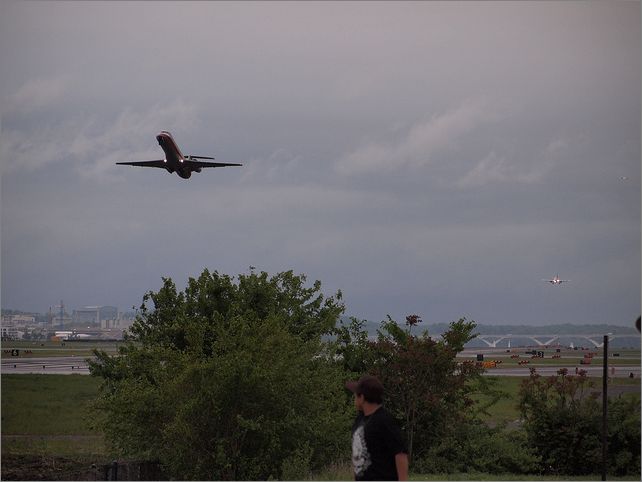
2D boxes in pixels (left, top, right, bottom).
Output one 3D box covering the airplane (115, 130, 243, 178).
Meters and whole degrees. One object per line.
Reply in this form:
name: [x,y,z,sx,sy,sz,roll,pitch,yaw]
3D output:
airplane: [-13.421,-7.683,123.047,6.608,3.680,7.285,-1,-10,0]
